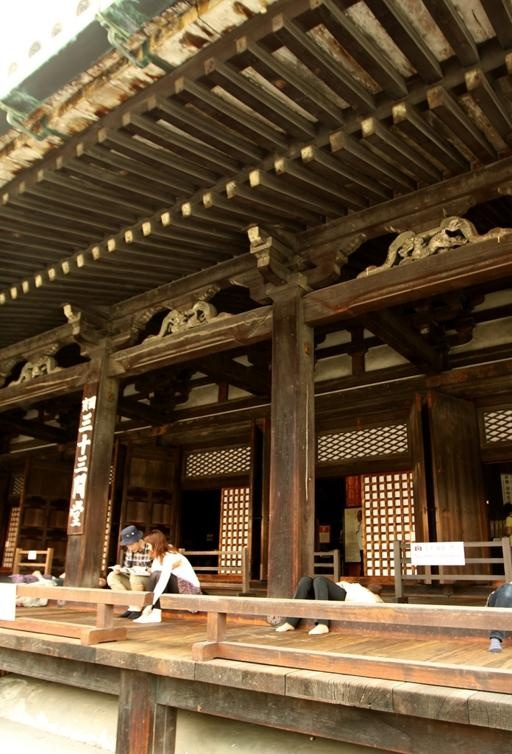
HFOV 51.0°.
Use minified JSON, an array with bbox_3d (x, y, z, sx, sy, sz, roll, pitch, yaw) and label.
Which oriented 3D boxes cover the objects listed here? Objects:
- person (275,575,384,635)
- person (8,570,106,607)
[{"bbox_3d":[0.511,1.422,3.355,0.724,0.334,1.050,4,-21,-10],"label":"person"},{"bbox_3d":[-2.229,2.172,5.521,0.554,0.347,1.875,7,-21,-17],"label":"person"}]
